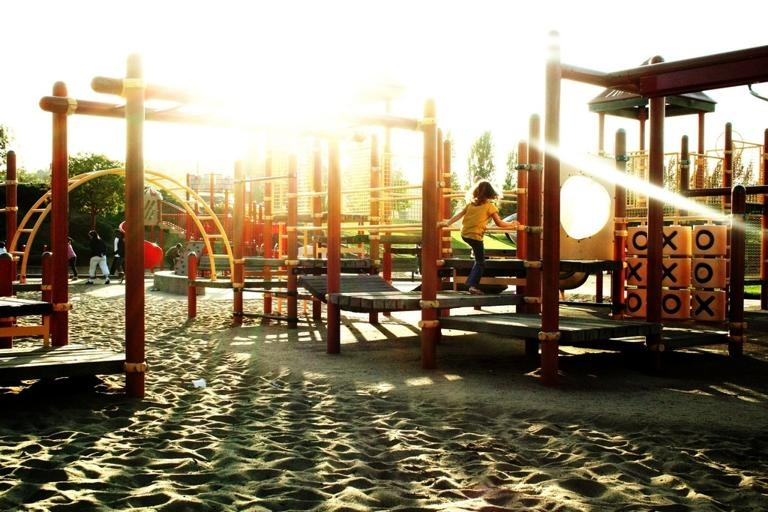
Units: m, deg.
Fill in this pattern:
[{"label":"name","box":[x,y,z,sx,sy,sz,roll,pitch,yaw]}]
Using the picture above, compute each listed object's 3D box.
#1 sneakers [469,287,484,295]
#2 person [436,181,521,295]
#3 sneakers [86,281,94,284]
[{"label":"sneakers","box":[1.346,0.510,9.454,0.226,0.082,0.084,1,7,-30]},{"label":"person","box":[1.381,-0.265,9.901,0.784,1.752,1.576,1,5,13]},{"label":"sneakers","box":[-8.761,0.789,19.602,0.130,0.134,0.345,-1,-5,-35]}]
